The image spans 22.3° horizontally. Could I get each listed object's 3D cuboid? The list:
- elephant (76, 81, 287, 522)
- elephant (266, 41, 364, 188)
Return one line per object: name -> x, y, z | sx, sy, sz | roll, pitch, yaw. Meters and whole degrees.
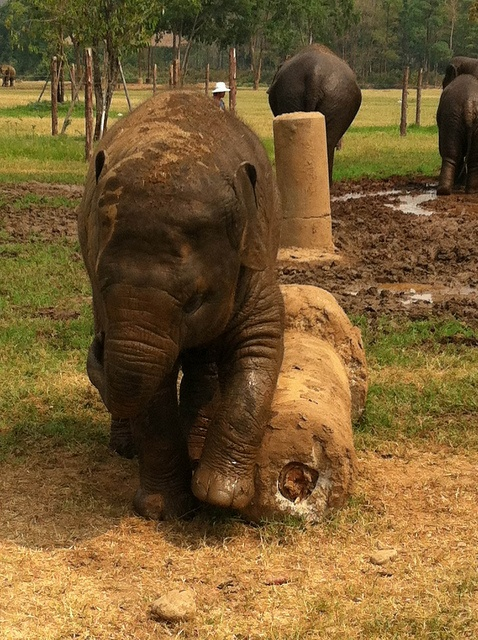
elephant -> -0.248, -0.015, 5.332 | 0.877, 1.907, 1.236 | 1, 14, 3
elephant -> 0.907, -2.596, 14.172 | 0.881, 1.513, 1.974 | -1, 19, -1
